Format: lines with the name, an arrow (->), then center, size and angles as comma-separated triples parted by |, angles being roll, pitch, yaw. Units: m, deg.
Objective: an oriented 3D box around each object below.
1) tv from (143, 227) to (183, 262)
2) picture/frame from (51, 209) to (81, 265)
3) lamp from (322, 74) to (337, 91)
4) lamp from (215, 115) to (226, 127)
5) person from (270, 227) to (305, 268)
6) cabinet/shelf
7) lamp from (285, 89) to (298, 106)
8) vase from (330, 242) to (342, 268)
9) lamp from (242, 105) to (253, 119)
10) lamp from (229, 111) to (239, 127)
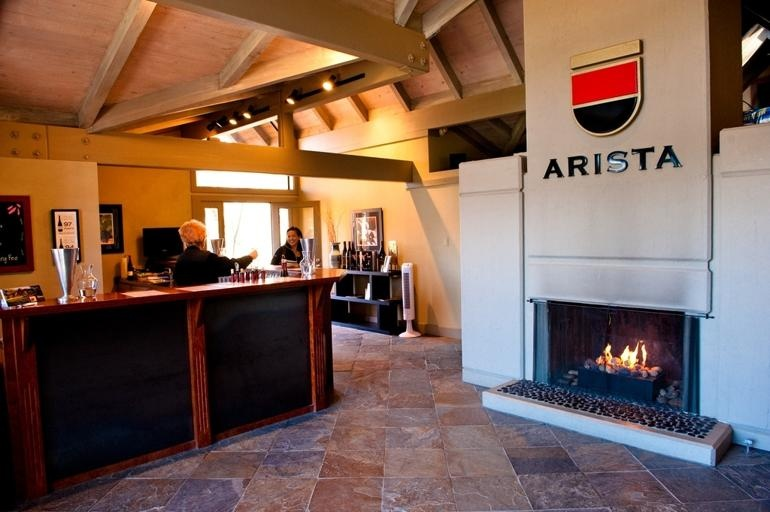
tv -> -3.904, -0.198, 9.652 | 0.609, 0.567, 0.191 | -2, 7, -33
picture/frame -> -3.826, -0.232, 6.654 | 0.276, 0.670, 0.208 | -3, 12, -8
lamp -> -0.790, -2.474, 7.894 | 0.233, 0.219, 0.132 | 14, 14, 6
lamp -> -2.970, -2.483, 10.197 | 0.345, 0.188, 0.153 | 8, 14, 37
person -> -1.663, -0.131, 9.321 | 0.841, 0.703, 0.453 | 0, 0, -24
cabinet/shelf -> -0.239, 0.752, 10.574 | 0.667, 1.583, 2.044 | 0, -7, -15
lamp -> -1.454, -2.489, 8.662 | 0.178, 0.207, 0.299 | -3, 11, -10
vase -> -0.887, -0.006, 9.994 | 0.174, 0.444, 0.334 | 6, 13, 31
lamp -> -2.386, -2.503, 9.569 | 0.176, 0.195, 0.442 | -4, 11, -14
lamp -> -2.743, -2.481, 10.013 | 0.212, 0.230, 0.207 | -2, 9, -27
